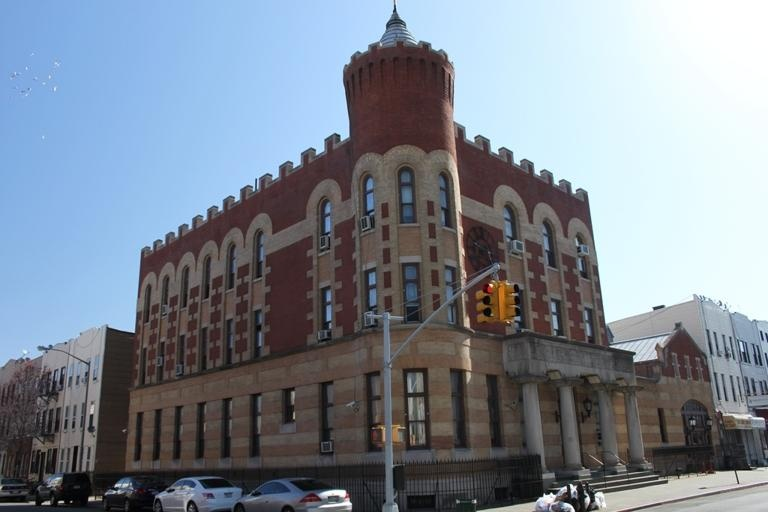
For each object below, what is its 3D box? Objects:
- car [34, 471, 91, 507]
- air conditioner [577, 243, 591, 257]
[{"bbox_3d":[-24.586,18.038,47.296,2.613,2.526,8.330,22,-35,-40],"label":"car"},{"bbox_3d":[16.231,-0.422,50.684,0.763,0.980,1.358,-16,-21,42],"label":"air conditioner"}]
